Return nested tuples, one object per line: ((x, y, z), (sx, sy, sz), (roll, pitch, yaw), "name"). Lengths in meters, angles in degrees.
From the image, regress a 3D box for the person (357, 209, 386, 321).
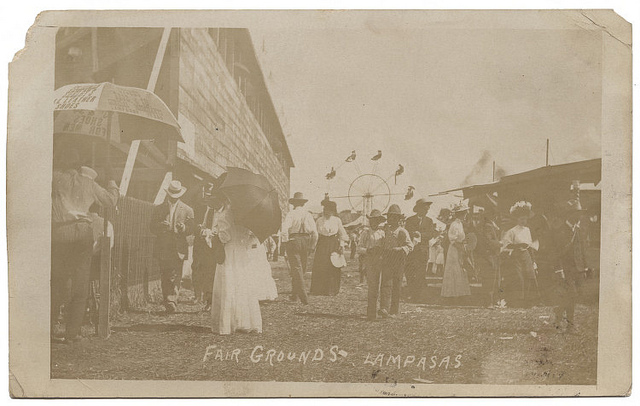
((0.805, 0.921, 12.662), (0.403, 1.614, 0.311), (-5, -12, 24), "person")

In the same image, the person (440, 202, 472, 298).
((2.003, 0.696, 12.692), (0.473, 1.386, 0.344), (-1, -11, 5), "person")

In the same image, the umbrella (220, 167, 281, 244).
((-1.147, 0.052, 12.649), (0.456, 0.900, 0.968), (-17, -33, 41), "umbrella")

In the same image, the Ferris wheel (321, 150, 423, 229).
((0.736, -0.149, 12.704), (1.264, 1.172, 0.127), (1, 4, -3), "Ferris wheel")

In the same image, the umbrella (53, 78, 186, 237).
((-3.168, -0.811, 13.693), (2.204, 2.488, 2.314), (6, 5, 42), "umbrella")

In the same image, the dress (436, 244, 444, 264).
((1.773, 0.767, 12.632), (0.070, 0.211, 0.144), (13, -9, -25), "dress")

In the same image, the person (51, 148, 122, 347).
((-3.578, 0.664, 12.718), (0.833, 2.866, 0.641), (2, -11, -14), "person")
